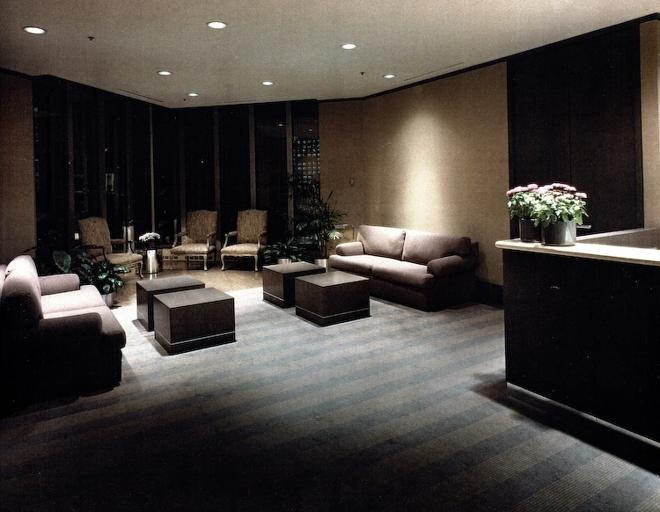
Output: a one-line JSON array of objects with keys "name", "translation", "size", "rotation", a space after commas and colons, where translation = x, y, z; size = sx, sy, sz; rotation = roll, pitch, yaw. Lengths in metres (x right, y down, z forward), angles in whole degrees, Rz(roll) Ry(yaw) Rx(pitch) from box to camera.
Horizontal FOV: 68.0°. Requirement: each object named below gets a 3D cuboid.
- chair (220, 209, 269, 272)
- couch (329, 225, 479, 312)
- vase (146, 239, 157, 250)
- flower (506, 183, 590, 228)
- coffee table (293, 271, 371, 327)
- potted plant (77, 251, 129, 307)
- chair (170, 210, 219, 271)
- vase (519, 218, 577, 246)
[{"name": "chair", "translation": [-1.642, -0.283, 9.310], "size": [0.904, 1.043, 1.084], "rotation": [-1, 14, -2]}, {"name": "couch", "translation": [1.014, 0.059, 7.262], "size": [1.138, 0.892, 2.261], "rotation": [-10, 17, -33]}, {"name": "vase", "translation": [-3.253, -0.190, 8.895], "size": [0.160, 0.160, 0.089], "rotation": [2, 6, 25]}, {"name": "flower", "translation": [1.683, -0.410, 3.886], "size": [0.515, 0.302, 0.462], "rotation": [-4, 10, -18]}, {"name": "coffee table", "translation": [0.087, 0.510, 5.944], "size": [0.641, 0.415, 0.630], "rotation": [-3, 4, -38]}, {"name": "potted plant", "translation": [-3.026, 0.231, 6.603], "size": [0.752, 0.683, 0.755], "rotation": [-3, 7, -28]}, {"name": "chair", "translation": [-2.663, -0.288, 9.511], "size": [1.011, 1.040, 1.316], "rotation": [-4, 14, -12]}, {"name": "vase", "translation": [1.680, -0.180, 3.818], "size": [0.343, 0.150, 0.202], "rotation": [2, 4, 43]}]
